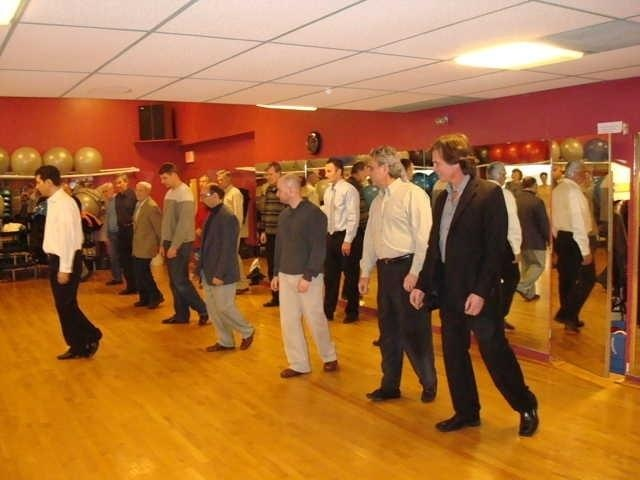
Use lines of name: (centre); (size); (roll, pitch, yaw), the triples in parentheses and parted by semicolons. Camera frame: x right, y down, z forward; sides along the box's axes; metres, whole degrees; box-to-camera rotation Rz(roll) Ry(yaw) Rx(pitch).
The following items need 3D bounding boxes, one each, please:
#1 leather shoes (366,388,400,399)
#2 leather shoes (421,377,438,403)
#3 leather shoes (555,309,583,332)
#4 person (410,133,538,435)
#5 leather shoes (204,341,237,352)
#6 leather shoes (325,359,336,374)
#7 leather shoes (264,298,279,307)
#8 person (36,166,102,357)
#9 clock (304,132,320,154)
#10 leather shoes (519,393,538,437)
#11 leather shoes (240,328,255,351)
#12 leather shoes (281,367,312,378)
leather shoes: (0.534, 1.292, 4.262); (0.292, 0.123, 0.099); (3, -3, -1)
leather shoes: (0.891, 1.239, 4.143); (0.114, 0.180, 0.181); (0, -8, 5)
leather shoes: (2.346, 0.774, 4.791); (0.098, 0.178, 0.264); (0, 3, -37)
person: (1.056, 0.340, 3.501); (0.834, 2.128, 0.428); (2, 8, 23)
leather shoes: (-1.086, 1.164, 5.545); (0.323, 0.135, 0.109); (7, -12, -13)
leather shoes: (0.110, 1.214, 4.839); (0.126, 0.125, 0.077); (-6, -7, 18)
leather shoes: (-0.683, 0.923, 7.325); (0.232, 0.090, 0.078); (2, -2, -5)
person: (-2.530, 0.263, 5.156); (0.451, 2.035, 0.518); (-6, 8, -28)
clock: (-0.106, -1.652, 8.614); (0.096, 0.398, 0.456); (-6, 9, -29)
leather shoes: (1.484, 1.274, 3.640); (0.141, 0.342, 0.114); (2, -2, -14)
leather shoes: (-0.808, 1.112, 5.580); (0.110, 0.255, 0.094); (21, -13, -42)
leather shoes: (-0.215, 1.255, 4.746); (0.262, 0.104, 0.088); (7, -2, -13)
